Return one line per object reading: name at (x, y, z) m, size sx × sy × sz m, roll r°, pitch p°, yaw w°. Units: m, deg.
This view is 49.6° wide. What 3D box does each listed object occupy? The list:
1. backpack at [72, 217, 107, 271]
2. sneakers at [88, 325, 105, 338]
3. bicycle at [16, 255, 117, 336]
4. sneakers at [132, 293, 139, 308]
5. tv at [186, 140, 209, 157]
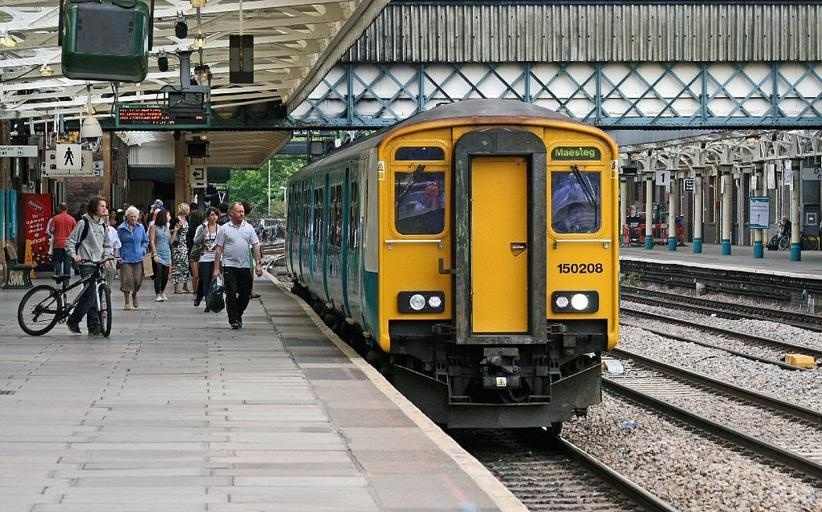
backpack at (-5.731, -0.188, 15.903) m, size 0.466 × 0.878 × 0.869 m, roll -2°, pitch 1°, yaw 35°
sneakers at (-5.629, 1.361, 15.940) m, size 0.139 × 0.143 × 0.318 m, roll 2°, pitch 7°, yaw 10°
bicycle at (-6.220, 0.829, 16.216) m, size 1.974 × 1.351 × 1.036 m, roll -2°, pitch -1°, yaw 3°
sneakers at (-6.401, 1.085, 20.857) m, size 0.182 × 0.262 × 0.623 m, roll -1°, pitch -4°, yaw -10°
tv at (-9.154, -4.585, 38.519) m, size 0.707 × 0.606 × 0.750 m, roll 0°, pitch -3°, yaw -7°
